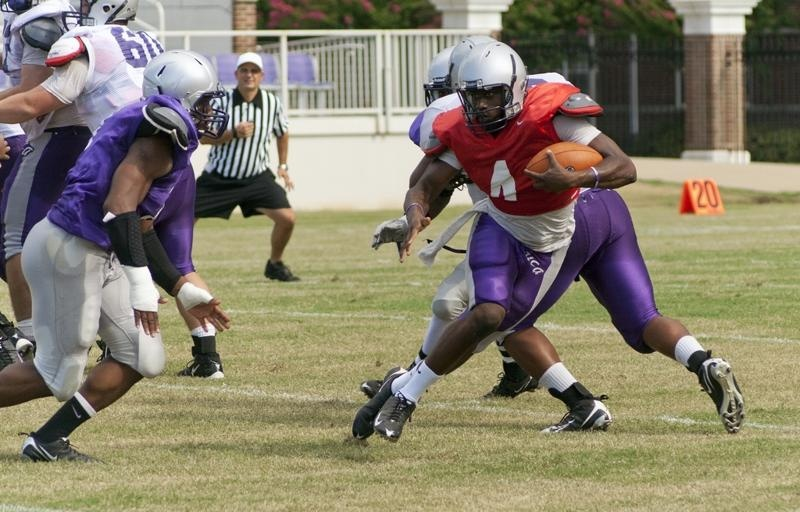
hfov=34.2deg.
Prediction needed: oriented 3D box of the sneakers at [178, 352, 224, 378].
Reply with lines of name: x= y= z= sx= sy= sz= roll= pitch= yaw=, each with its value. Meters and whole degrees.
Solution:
sneakers: x=-1.271 y=0.718 z=8.444 sx=0.371 sy=0.163 sz=0.127 roll=1 pitch=2 yaw=16

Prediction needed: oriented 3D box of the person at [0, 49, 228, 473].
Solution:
person: x=-1.525 y=0.004 z=6.838 sx=1.187 sy=2.131 sz=0.520 roll=-2 pitch=8 yaw=-10

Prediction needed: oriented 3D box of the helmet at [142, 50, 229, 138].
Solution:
helmet: x=-1.171 y=-0.896 z=7.078 sx=0.511 sy=0.441 sz=0.409 roll=5 pitch=12 yaw=-24

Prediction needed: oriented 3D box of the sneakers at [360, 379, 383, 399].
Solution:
sneakers: x=-0.176 y=0.798 z=7.898 sx=0.143 sy=0.064 sz=0.087 roll=-30 pitch=9 yaw=31

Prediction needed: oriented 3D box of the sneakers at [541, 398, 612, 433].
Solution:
sneakers: x=0.952 y=0.905 z=7.259 sx=0.453 sy=0.198 sz=0.150 roll=-5 pitch=1 yaw=-27

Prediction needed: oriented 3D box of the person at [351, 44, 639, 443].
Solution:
person: x=0.610 y=-0.096 z=7.196 sx=1.421 sy=2.145 sz=0.883 roll=0 pitch=8 yaw=1

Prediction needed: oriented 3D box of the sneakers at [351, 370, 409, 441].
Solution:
sneakers: x=-0.072 y=0.826 z=7.277 sx=0.230 sy=0.186 sz=0.540 roll=-23 pitch=24 yaw=30

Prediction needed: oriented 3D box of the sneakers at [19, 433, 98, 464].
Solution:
sneakers: x=-1.761 y=1.034 z=6.845 sx=0.449 sy=0.175 sz=0.154 roll=5 pitch=-5 yaw=-7

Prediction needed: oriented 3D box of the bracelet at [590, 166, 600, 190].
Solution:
bracelet: x=1.012 y=-0.408 z=6.791 sx=0.041 sy=0.101 sz=0.047 roll=-2 pitch=8 yaw=-12

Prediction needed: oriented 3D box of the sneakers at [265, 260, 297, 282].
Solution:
sneakers: x=-1.060 y=0.135 z=11.592 sx=0.365 sy=0.183 sz=0.135 roll=6 pitch=10 yaw=14

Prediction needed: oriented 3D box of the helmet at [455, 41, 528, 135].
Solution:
helmet: x=0.496 y=-0.966 z=7.119 sx=0.358 sy=0.418 sz=0.493 roll=2 pitch=27 yaw=28

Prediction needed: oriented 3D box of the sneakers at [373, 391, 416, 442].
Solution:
sneakers: x=-0.040 y=0.872 z=6.974 sx=0.147 sy=0.122 sz=0.354 roll=-43 pitch=6 yaw=12
